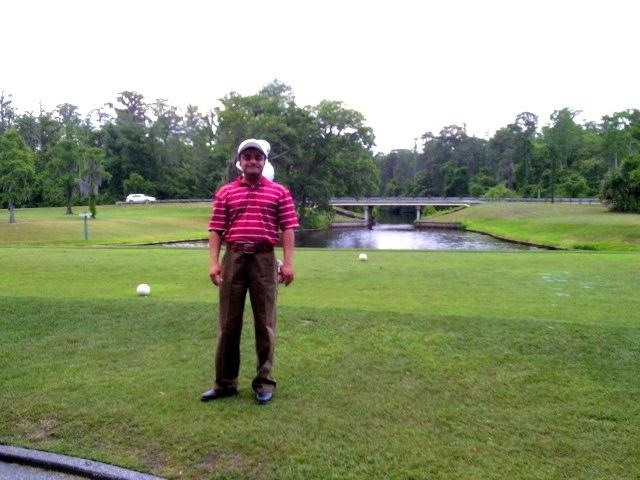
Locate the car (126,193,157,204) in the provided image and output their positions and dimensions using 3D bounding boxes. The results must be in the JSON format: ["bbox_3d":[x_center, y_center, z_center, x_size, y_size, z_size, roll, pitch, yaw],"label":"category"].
[{"bbox_3d":[-23.013,-5.047,67.779,3.515,1.454,1.659,-4,11,-11],"label":"car"}]

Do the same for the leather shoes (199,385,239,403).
[{"bbox_3d":[-1.100,1.680,5.754,0.373,0.165,0.137,9,-5,-24],"label":"leather shoes"}]

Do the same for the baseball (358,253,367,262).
[{"bbox_3d":[1.277,0.552,15.657,0.188,0.154,0.244,-1,5,1],"label":"baseball"}]

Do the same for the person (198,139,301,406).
[{"bbox_3d":[-0.764,0.306,5.820,1.004,2.842,0.624,0,3,-4],"label":"person"}]
